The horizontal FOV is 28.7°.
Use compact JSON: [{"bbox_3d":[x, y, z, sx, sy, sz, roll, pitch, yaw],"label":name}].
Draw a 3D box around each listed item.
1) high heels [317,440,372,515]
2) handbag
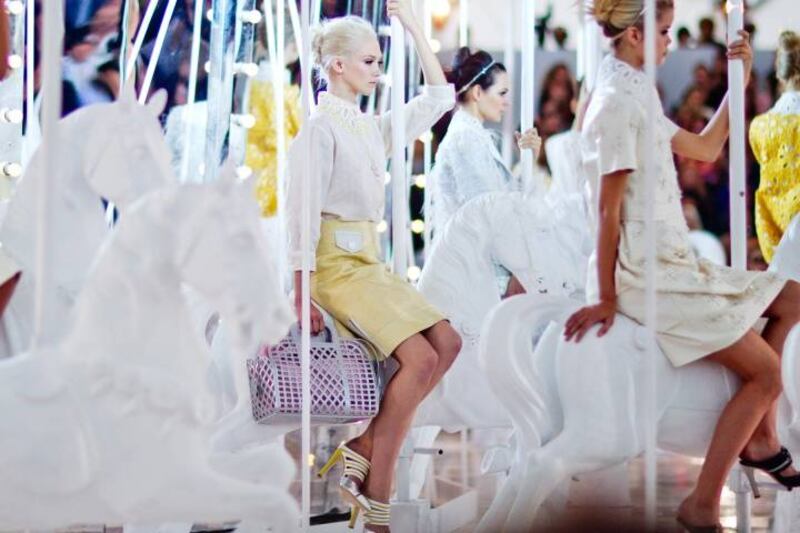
[{"bbox_3d":[-0.165,0.716,5.423,0.247,0.083,0.153,23,77,37],"label":"high heels"},{"bbox_3d":[-0.287,0.352,5.460,0.423,0.172,0.392,5,72,-25],"label":"handbag"}]
